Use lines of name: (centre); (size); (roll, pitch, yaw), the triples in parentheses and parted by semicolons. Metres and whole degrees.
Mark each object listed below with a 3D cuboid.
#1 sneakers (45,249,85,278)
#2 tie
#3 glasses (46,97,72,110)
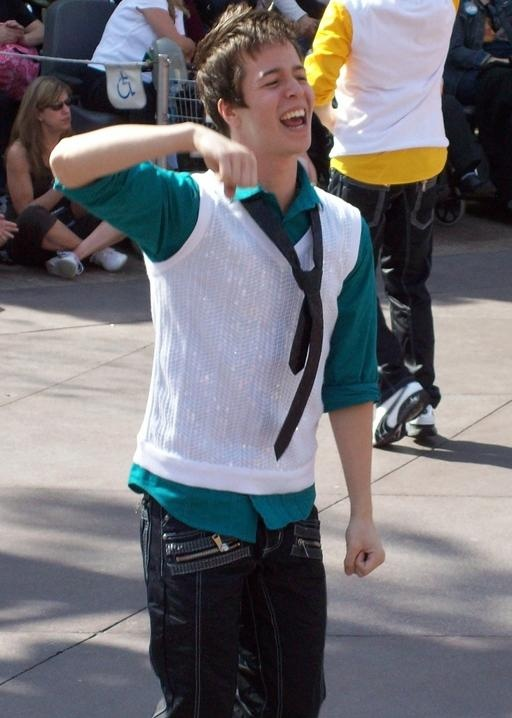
sneakers: (-1.535, -0.757, 6.568); (0.148, 0.160, 0.304); (-29, 14, -31)
tie: (0.045, -0.050, 1.414); (0.139, 0.463, 0.093); (-1, 12, -2)
glasses: (-1.667, -2.146, 6.819); (0.162, 0.046, 0.160); (-13, 11, 46)
